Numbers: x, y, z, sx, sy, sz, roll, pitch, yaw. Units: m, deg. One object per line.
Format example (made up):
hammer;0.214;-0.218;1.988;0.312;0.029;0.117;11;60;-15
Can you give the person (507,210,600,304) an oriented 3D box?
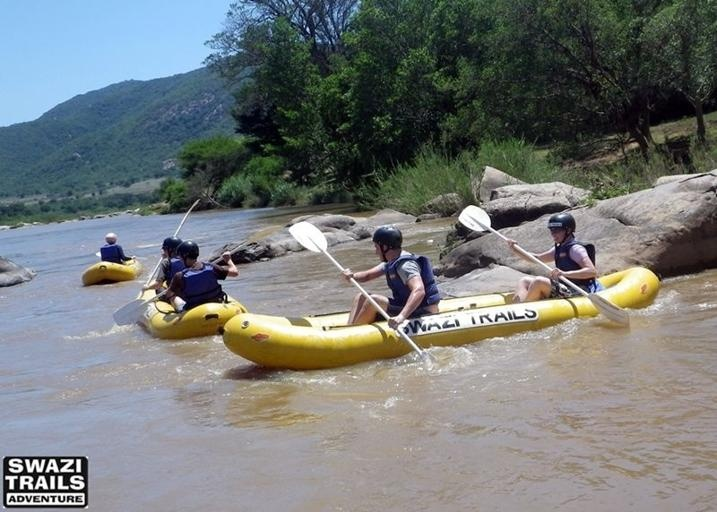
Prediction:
person;2.610;0.069;9.296;1.096;1.405;0.848;18;-18;-12

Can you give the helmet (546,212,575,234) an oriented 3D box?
helmet;2.479;-0.395;8.627;0.294;0.222;0.225;-13;15;-11

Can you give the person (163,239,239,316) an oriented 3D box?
person;-2.331;0.262;10.075;0.766;0.756;1.276;-9;23;-17

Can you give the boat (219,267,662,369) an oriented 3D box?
boat;0.759;0.850;8.139;5.690;0.849;1.749;-4;1;-14

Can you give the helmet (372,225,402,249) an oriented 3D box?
helmet;0.323;-0.206;8.028;0.319;0.233;0.232;-3;18;1

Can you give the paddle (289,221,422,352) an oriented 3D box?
paddle;-0.109;0.477;9.964;0.547;0.199;3.533;-39;47;-17

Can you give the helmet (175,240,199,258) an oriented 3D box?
helmet;-2.428;-0.064;9.880;0.306;0.243;0.229;23;29;36
